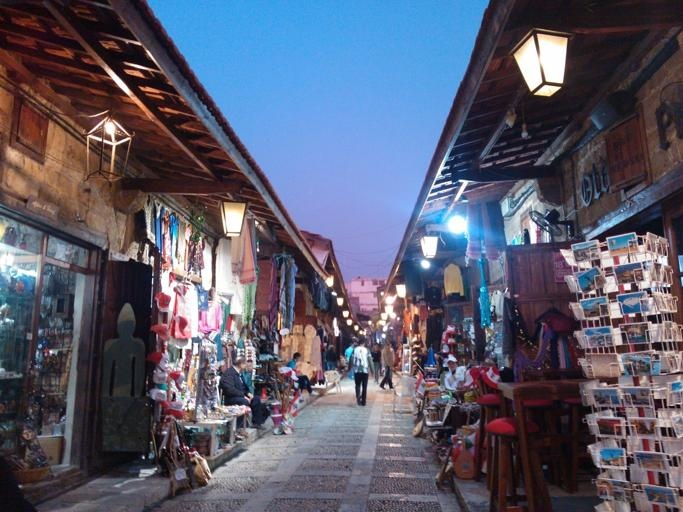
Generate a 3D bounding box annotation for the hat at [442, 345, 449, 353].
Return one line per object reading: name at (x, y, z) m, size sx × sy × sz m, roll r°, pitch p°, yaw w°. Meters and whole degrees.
hat at (3.198, 2.801, 14.908) m, size 0.179 × 0.243 × 0.495 m, roll 0°, pitch -8°, yaw 11°

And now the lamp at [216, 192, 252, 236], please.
lamp at (-1.930, -0.730, 8.741) m, size 0.592 × 0.823 × 0.600 m, roll 1°, pitch -4°, yaw -7°

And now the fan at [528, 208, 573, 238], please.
fan at (4.281, -0.653, 9.931) m, size 0.585 × 0.388 × 0.463 m, roll 12°, pitch 30°, yaw -28°

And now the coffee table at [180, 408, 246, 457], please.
coffee table at (-2.283, 3.018, 8.481) m, size 0.578 × 0.670 × 1.992 m, roll 1°, pitch -8°, yaw 3°

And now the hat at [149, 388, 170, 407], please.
hat at (-2.824, 2.158, 7.493) m, size 0.280 × 0.284 × 0.218 m, roll -9°, pitch -11°, yaw 38°

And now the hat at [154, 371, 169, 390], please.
hat at (-2.870, 1.973, 7.775) m, size 0.207 × 0.282 × 0.254 m, roll 5°, pitch -8°, yaw -22°

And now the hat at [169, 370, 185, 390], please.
hat at (-2.680, 2.015, 7.946) m, size 0.181 × 0.318 × 0.547 m, roll 3°, pitch -8°, yaw -13°

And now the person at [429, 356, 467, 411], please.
person at (2.551, 2.976, 11.354) m, size 0.969 × 1.221 × 0.669 m, roll -8°, pitch -3°, yaw -29°

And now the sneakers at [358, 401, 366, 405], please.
sneakers at (0.648, 4.571, 15.372) m, size 0.229 × 0.153 × 0.414 m, roll 1°, pitch -8°, yaw 4°

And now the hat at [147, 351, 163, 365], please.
hat at (-2.957, 1.606, 7.753) m, size 0.224 × 0.173 × 0.143 m, roll 5°, pitch -8°, yaw -24°

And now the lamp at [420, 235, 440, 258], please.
lamp at (2.377, -0.222, 13.265) m, size 0.547 × 0.646 × 0.545 m, roll 2°, pitch -2°, yaw 2°

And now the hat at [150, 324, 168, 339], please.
hat at (-3.012, 1.227, 8.085) m, size 0.252 × 0.254 × 0.434 m, roll 5°, pitch -9°, yaw -22°

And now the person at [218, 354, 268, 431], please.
person at (-2.032, 2.844, 10.262) m, size 0.971 × 1.447 × 0.837 m, roll 2°, pitch 0°, yaw 3°

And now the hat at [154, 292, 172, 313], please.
hat at (-3.008, 0.773, 8.218) m, size 0.235 × 0.307 × 0.257 m, roll 5°, pitch -8°, yaw -23°

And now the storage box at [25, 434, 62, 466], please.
storage box at (-4.449, 2.952, 7.477) m, size 0.347 × 0.400 × 0.130 m, roll 6°, pitch -8°, yaw -28°

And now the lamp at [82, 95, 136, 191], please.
lamp at (-3.760, -1.880, 7.929) m, size 0.449 × 1.247 × 0.504 m, roll -8°, pitch -3°, yaw 44°

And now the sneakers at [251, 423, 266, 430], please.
sneakers at (-1.863, 3.823, 11.045) m, size 0.295 × 0.139 × 0.117 m, roll 2°, pitch -9°, yaw -4°
